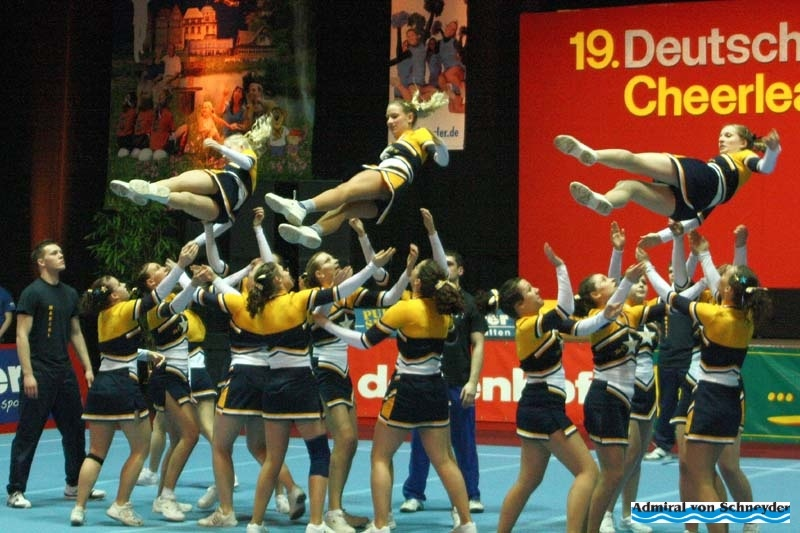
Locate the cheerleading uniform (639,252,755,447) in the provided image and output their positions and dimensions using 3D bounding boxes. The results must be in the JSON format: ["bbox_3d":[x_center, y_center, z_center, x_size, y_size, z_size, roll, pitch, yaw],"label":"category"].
[{"bbox_3d":[2.879,0.896,8.655,0.827,1.535,0.342,2,-3,18],"label":"cheerleading uniform"}]

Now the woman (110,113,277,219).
[{"bbox_3d":[-1.925,-1.010,8.962,0.573,1.167,1.423,1,-4,33],"label":"woman"}]

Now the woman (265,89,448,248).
[{"bbox_3d":[-0.379,-1.002,9.395,1.745,1.757,1.049,4,-3,-18],"label":"woman"}]

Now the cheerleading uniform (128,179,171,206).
[{"bbox_3d":[-2.354,-0.680,8.614,0.352,0.210,0.129,6,0,-19],"label":"cheerleading uniform"}]

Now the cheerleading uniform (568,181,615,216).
[{"bbox_3d":[1.789,-0.626,8.536,0.376,0.313,0.590,3,-3,12],"label":"cheerleading uniform"}]

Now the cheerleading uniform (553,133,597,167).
[{"bbox_3d":[1.668,-1.102,8.652,0.368,0.353,0.774,3,-3,12],"label":"cheerleading uniform"}]

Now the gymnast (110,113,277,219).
[{"bbox_3d":[-1.919,-1.009,8.969,0.562,1.167,1.448,1,-4,34],"label":"gymnast"}]

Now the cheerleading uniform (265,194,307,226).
[{"bbox_3d":[-1.087,-0.518,8.750,0.354,0.292,0.252,3,-3,9],"label":"cheerleading uniform"}]

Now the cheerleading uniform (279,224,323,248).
[{"bbox_3d":[-1.017,-0.306,9.440,0.438,0.178,0.320,21,15,-4],"label":"cheerleading uniform"}]

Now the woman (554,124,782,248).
[{"bbox_3d":[2.576,-0.840,8.738,1.530,1.001,1.364,15,-36,-13],"label":"woman"}]
